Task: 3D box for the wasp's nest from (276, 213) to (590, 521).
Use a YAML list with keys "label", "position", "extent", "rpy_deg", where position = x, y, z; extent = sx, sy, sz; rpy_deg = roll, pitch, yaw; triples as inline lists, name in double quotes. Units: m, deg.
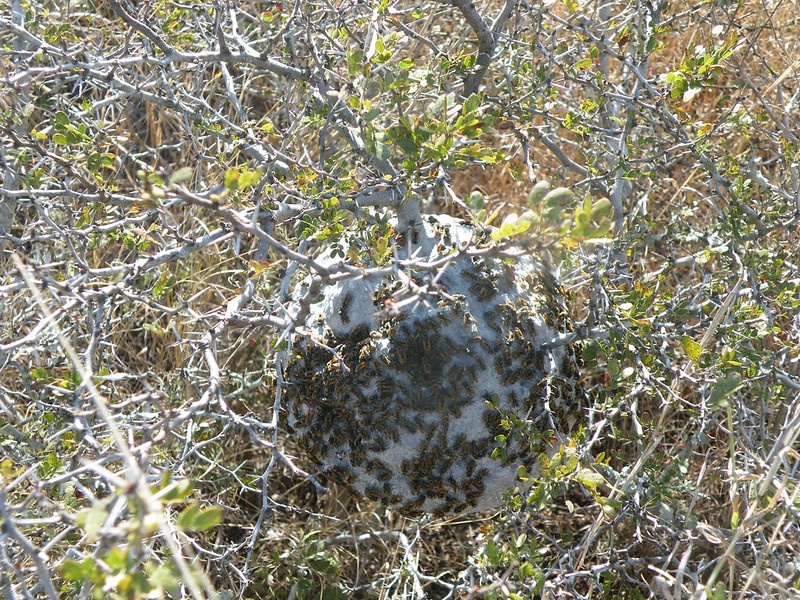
- label: "wasp's nest"
  position: [0.114, 0.217, 6.175]
  extent: [1.427, 1.373, 1.030]
  rpy_deg: [32, 28, -29]
